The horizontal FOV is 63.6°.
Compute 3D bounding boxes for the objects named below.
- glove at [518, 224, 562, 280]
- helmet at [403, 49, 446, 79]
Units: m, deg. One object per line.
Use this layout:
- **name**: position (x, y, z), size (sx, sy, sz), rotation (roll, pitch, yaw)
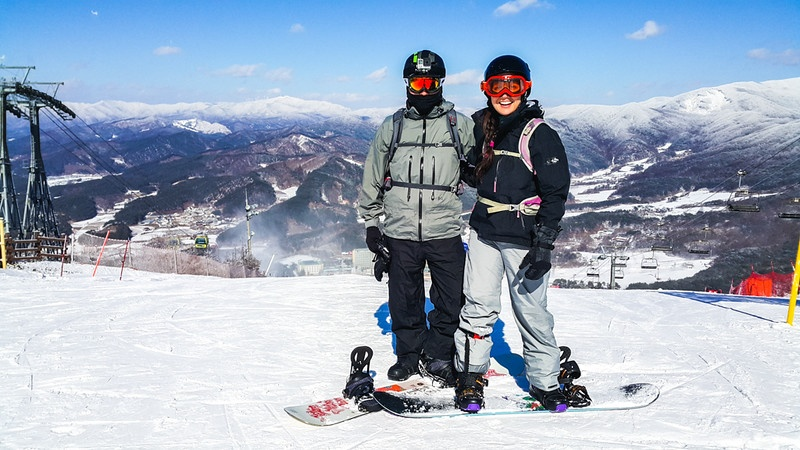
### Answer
- **glove**: position (2.354, 0.473, 10.820), size (0.667, 0.881, 0.225), rotation (1, 0, 8)
- **helmet**: position (0.433, -2.955, 11.668), size (0.751, 0.412, 0.759), rotation (8, 20, 27)
